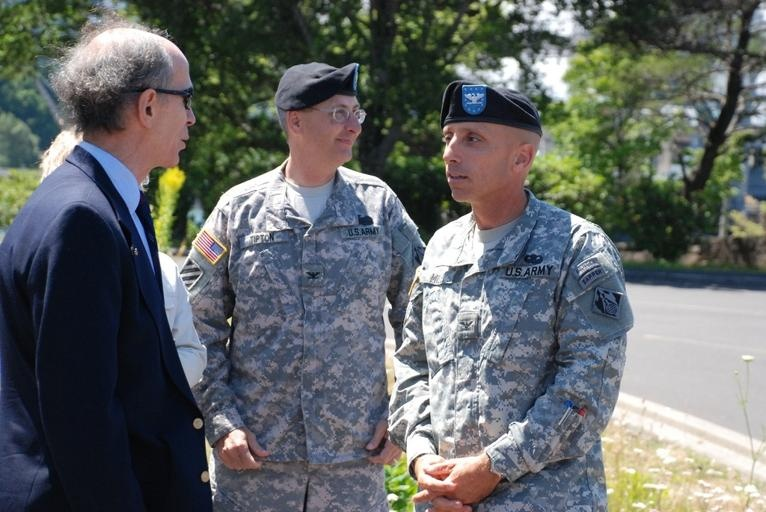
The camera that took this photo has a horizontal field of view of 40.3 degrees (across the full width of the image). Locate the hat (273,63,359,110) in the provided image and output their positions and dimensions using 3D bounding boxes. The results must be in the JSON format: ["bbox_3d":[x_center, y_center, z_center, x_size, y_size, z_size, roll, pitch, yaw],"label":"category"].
[{"bbox_3d":[-0.451,-1.150,7.085,0.410,0.220,0.364,-17,10,-11],"label":"hat"}]

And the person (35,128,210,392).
[{"bbox_3d":[-1.675,-0.022,6.711,1.092,1.608,0.531,-18,18,-22],"label":"person"}]
